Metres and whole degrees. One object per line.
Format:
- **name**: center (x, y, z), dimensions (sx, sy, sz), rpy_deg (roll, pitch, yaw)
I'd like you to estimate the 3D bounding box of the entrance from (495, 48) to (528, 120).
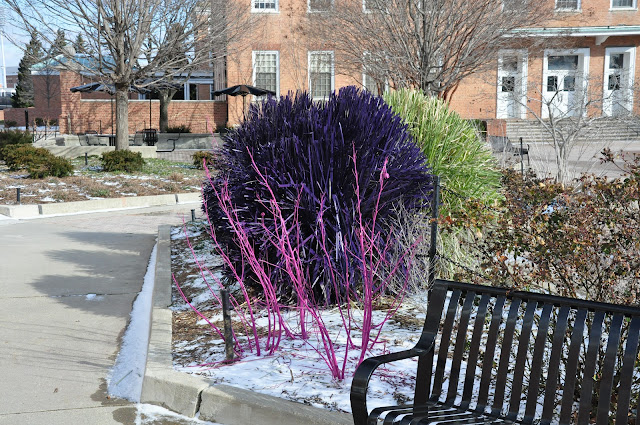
- **entrance**: center (7.757, -5.043, 27.570), dimensions (1.245, 2.932, 7.660), rpy_deg (2, 13, 15)
